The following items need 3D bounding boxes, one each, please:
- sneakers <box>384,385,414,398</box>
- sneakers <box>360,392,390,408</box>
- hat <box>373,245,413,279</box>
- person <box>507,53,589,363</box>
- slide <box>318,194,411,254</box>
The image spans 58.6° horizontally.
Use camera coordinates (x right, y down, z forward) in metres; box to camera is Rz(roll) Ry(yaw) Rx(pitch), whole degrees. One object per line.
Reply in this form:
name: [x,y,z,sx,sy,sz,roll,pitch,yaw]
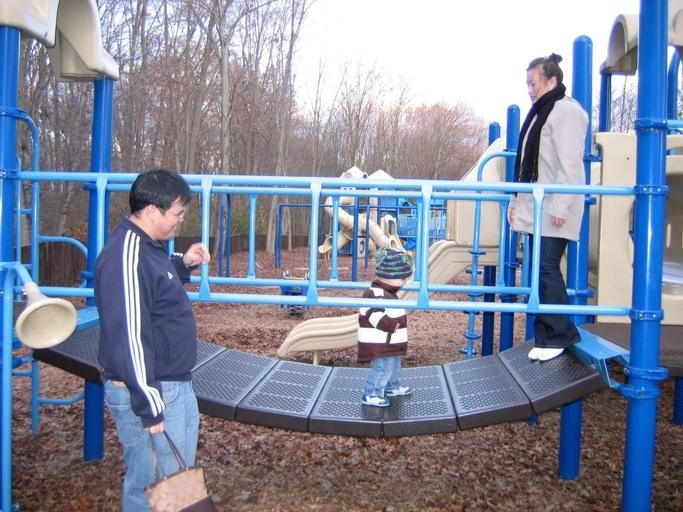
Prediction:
sneakers: [0.435,1.013,4.534,0.223,0.109,0.081,-4,7,-2]
sneakers: [0.248,1.019,4.339,0.184,0.089,0.084,0,5,11]
hat: [0.371,0.050,4.328,0.238,0.204,0.188,0,7,11]
person: [1.525,-0.346,4.400,0.483,2.241,0.844,1,7,0]
slide: [0.764,-0.727,17.688,1.804,1.375,1.979,16,3,27]
